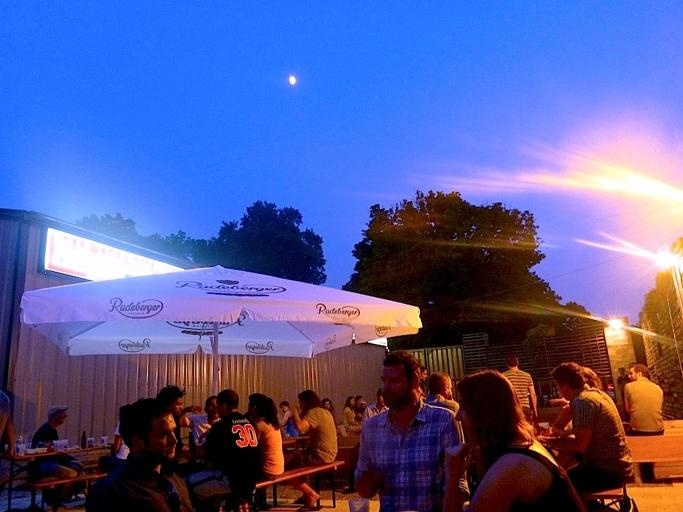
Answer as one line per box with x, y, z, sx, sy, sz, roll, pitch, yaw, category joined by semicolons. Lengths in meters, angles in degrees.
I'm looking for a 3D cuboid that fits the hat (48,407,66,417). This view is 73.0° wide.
-5.249;2.844;8.518;0.251;0.100;0.178;-8;-1;-32;hat
